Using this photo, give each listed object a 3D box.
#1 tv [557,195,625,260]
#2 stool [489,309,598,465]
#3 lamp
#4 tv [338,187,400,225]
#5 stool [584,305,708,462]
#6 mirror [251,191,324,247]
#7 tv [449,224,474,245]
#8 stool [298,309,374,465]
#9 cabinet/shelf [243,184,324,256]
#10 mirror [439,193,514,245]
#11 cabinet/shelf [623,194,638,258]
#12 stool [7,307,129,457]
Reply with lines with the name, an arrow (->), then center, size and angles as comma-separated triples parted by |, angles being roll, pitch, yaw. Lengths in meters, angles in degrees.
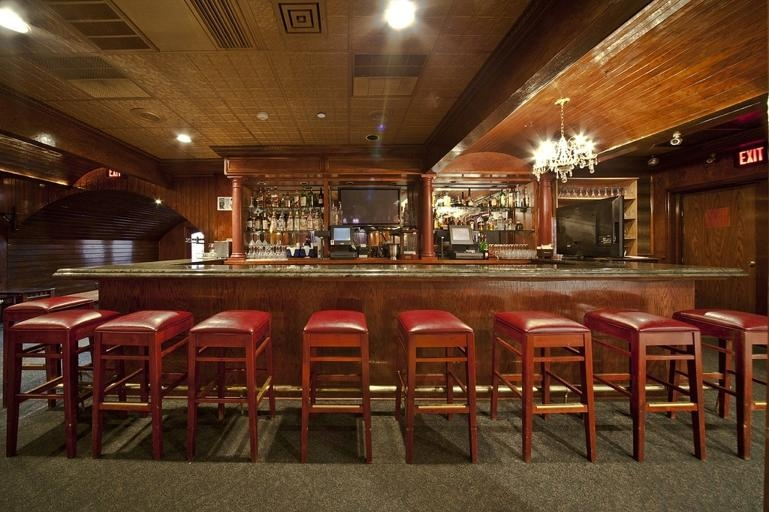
tv -> 2.585, -0.333, 6.421 | 0.316, 0.712, 1.113 | 0, 2, -11
stool -> 1.612, 1.274, 5.299 | 1.030, 1.434, 0.886 | -1, 2, 6
lamp -> 2.526, -1.671, 7.248 | 0.855, 1.015, 0.848 | -6, 5, -40
tv -> -0.306, -0.885, 8.904 | 0.836, 0.428, 0.103 | 0, -2, -2
stool -> 2.684, 1.257, 5.334 | 1.164, 1.438, 0.915 | -1, 2, 7
mirror -> -1.651, -0.628, 9.066 | 1.455, 1.063, 0.449 | 0, -1, 13
tv -> 1.145, -0.329, 7.765 | 0.359, 0.263, 0.113 | 1, -12, -3
stool -> -0.509, 1.270, 5.287 | 0.717, 1.433, 0.866 | -1, 2, -2
cabinet/shelf -> -1.882, -0.568, 9.003 | 1.578, 1.283, 0.477 | -3, 11, -40
mirror -> 1.605, -0.695, 8.797 | 2.138, 0.739, 0.474 | 1, -4, 3
cabinet/shelf -> 4.156, -0.317, 8.671 | 0.240, 0.867, 0.101 | 4, -11, -11
stool -> -3.356, 1.259, 5.131 | 0.962, 1.397, 0.475 | -1, 2, -3
